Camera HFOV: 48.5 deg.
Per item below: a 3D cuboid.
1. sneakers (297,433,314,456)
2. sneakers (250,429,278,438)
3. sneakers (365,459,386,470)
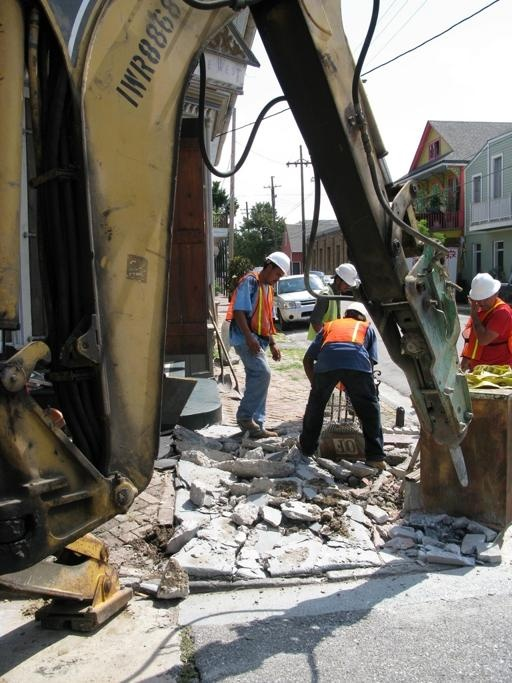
[{"bbox_3d":[0.449,0.895,4.987,0.142,0.184,0.185,4,15,8],"label":"sneakers"},{"bbox_3d":[0.089,0.937,5.837,0.300,0.137,0.105,0,3,-1],"label":"sneakers"},{"bbox_3d":[1.014,1.047,4.803,0.116,0.112,0.089,-16,-2,-5],"label":"sneakers"}]
